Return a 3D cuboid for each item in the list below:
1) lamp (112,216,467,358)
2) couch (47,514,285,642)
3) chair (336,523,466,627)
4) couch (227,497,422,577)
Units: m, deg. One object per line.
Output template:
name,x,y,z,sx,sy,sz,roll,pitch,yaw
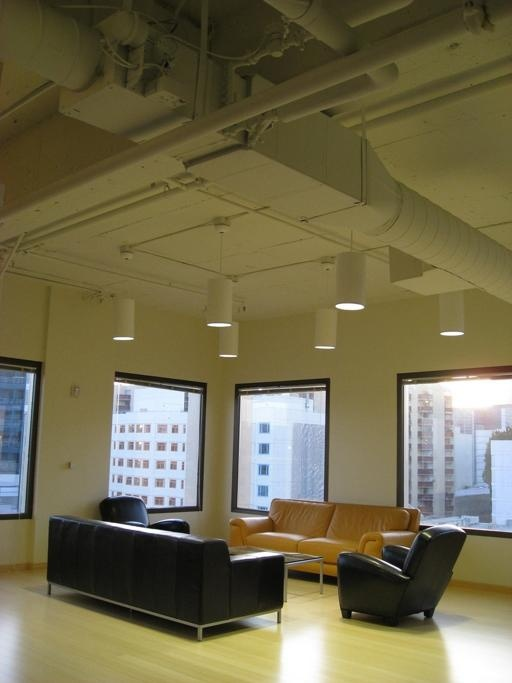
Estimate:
lamp,0.442,-0.550,5.459,2.818,1.238,1.870,-11,-19,43
couch,-0.910,2.044,5.111,2.357,0.757,1.043,-10,-18,41
chair,1.305,2.077,5.051,1.007,0.817,1.015,-4,-16,24
couch,0.819,2.556,7.276,0.850,0.891,2.496,16,-20,-39
